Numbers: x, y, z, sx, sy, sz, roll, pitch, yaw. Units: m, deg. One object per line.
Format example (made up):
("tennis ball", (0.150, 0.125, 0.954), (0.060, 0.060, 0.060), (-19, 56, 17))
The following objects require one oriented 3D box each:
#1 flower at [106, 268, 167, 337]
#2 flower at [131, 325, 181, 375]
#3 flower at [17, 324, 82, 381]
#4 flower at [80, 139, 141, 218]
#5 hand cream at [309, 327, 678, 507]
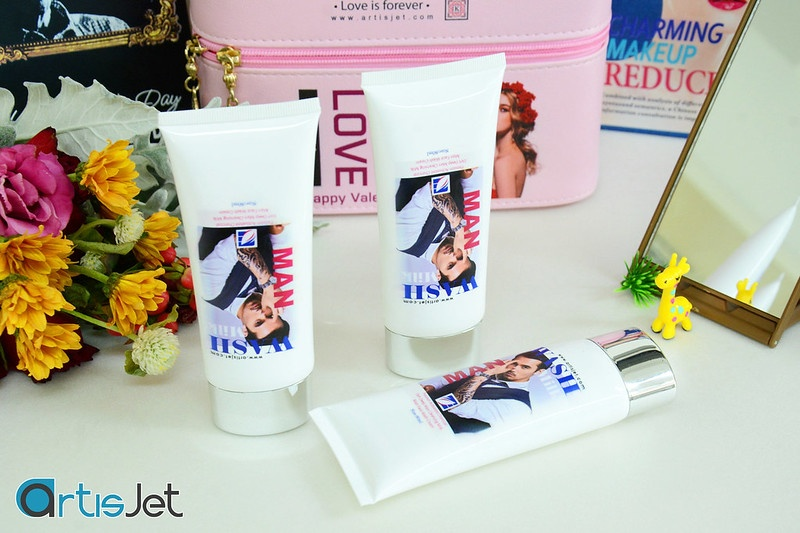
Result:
("flower", (-0.206, 0.027, 0.474), (0.031, 0.036, 0.057), (-10, 14, -33))
("flower", (-0.190, 0.067, 0.479), (0.026, 0.026, 0.028), (1, 12, -14))
("flower", (-0.267, 0.062, 0.461), (0.038, 0.025, 0.049), (-44, 52, 2))
("flower", (-0.222, -0.067, 0.474), (0.054, 0.045, 0.032), (-2, -3, -11))
("hand cream", (0.069, 0.095, 0.471), (0.257, 0.071, 0.111), (-13, 40, -14))
